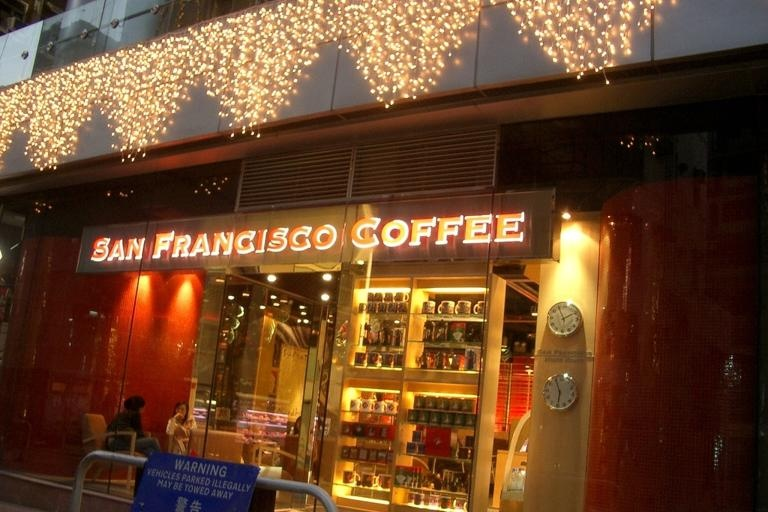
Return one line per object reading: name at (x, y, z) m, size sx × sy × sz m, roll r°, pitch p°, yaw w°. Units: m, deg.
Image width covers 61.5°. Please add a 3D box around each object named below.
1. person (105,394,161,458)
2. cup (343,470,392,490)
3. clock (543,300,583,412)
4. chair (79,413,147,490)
person at (-2.336, 1.716, 6.025) m, size 0.267 × 0.786 × 0.516 m, roll -26°, pitch -31°, yaw 35°
cup at (-0.143, 1.888, 5.448) m, size 0.400 × 0.134 × 0.069 m, roll 12°, pitch -15°, yaw -19°
clock at (1.595, 0.881, 5.737) m, size 0.327 × 0.943 × 0.165 m, roll 1°, pitch -14°, yaw 16°
chair at (-2.645, 1.859, 6.243) m, size 0.470 × 0.656 × 0.422 m, roll 5°, pitch -12°, yaw -10°
